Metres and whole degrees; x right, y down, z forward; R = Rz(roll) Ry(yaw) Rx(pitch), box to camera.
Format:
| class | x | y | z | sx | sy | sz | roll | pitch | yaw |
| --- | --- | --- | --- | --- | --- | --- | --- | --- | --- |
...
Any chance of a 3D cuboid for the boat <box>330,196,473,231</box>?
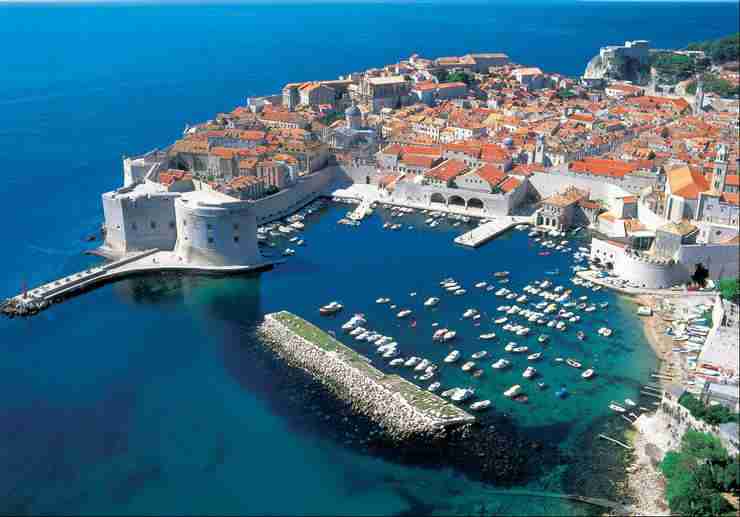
| class | x | y | z | sx | sy | sz | roll | pitch | yaw |
| --- | --- | --- | --- | --- | --- | --- | --- | --- | --- |
| boat | 2.693 | -6.111 | 70.079 | 17.577 | 2.403 | 8.406 | 1 | 17 | 12 |
